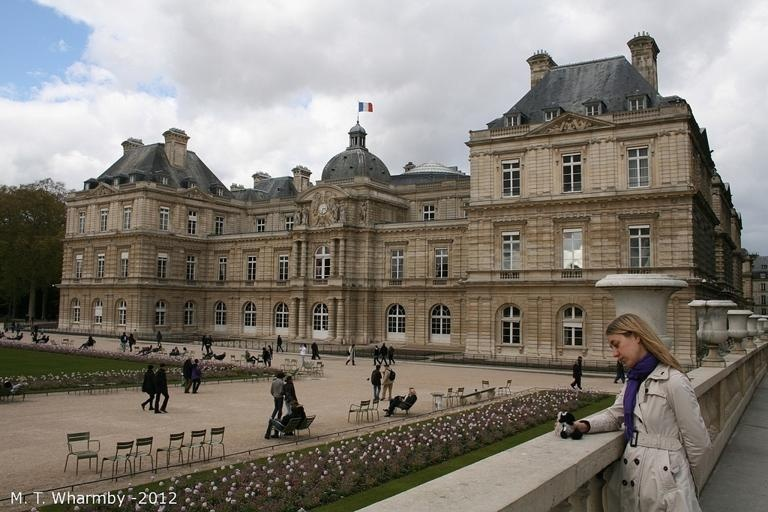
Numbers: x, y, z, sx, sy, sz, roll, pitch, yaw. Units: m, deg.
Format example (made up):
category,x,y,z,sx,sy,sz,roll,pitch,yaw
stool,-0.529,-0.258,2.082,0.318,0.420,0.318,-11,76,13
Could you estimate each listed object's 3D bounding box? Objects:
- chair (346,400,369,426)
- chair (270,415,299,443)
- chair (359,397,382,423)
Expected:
category,x,y,z,sx,sy,sz,roll,pitch,yaw
chair,-1.083,6.869,30.330,0.944,1.237,1.182,-4,-8,36
chair,-3.880,6.764,27.138,0.776,0.906,1.117,12,-17,-41
chair,-0.588,6.946,30.960,0.406,0.673,1.079,-2,-7,28
